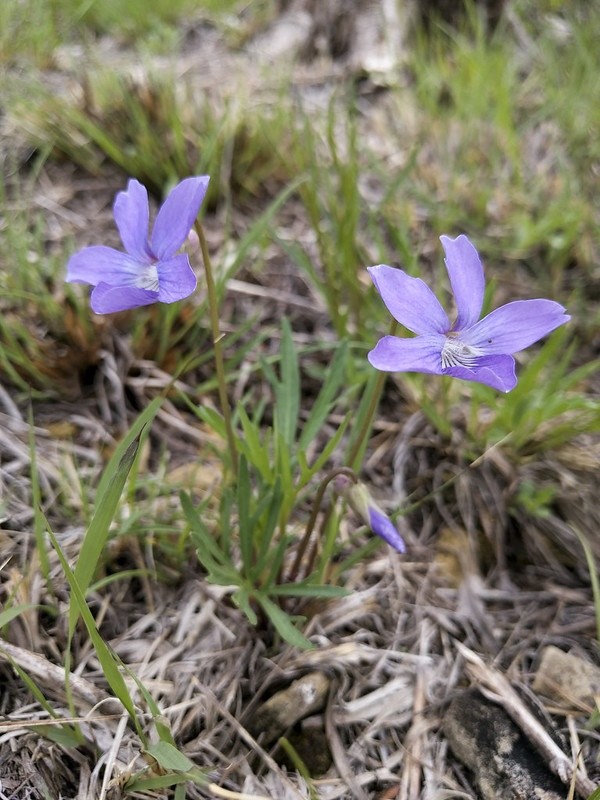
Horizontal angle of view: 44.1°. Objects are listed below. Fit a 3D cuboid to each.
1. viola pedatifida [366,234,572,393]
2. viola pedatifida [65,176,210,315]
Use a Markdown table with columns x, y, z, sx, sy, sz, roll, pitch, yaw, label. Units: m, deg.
| x | y | z | sx | sy | sz | roll | pitch | yaw | label |
| --- | --- | --- | --- | --- | --- | --- | --- | --- | --- |
| 0.351 | -0.190 | 1.626 | 0.417 | 0.190 | 0.383 | 20 | 49 | 5 | viola pedatifida |
| -0.352 | -0.381 | 1.739 | 0.349 | 0.374 | 0.144 | 5 | 83 | -8 | viola pedatifida |
